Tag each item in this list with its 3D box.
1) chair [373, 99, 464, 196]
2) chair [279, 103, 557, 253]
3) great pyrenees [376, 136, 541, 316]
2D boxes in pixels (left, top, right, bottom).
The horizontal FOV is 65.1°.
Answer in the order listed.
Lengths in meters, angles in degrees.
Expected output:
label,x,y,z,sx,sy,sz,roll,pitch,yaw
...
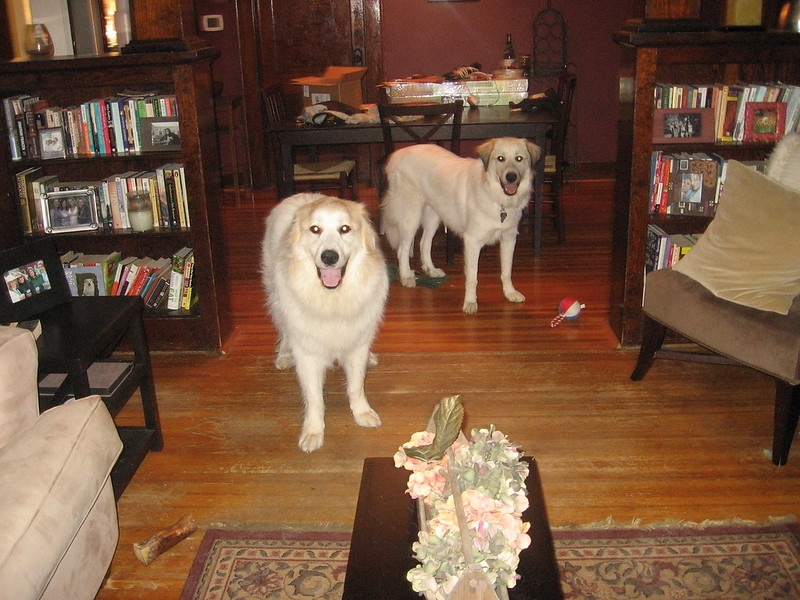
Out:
label,x,y,z,sx,sy,sz,roll,pitch,yaw
chair,0.169,-1.350,5.093,0.627,1.068,0.732,3,45,4
chair,0.211,-0.938,4.724,1.708,0.816,0.816,0,36,2
great pyrenees,0.428,-0.624,4.624,0.637,1.125,1.151,-19,26,-38
